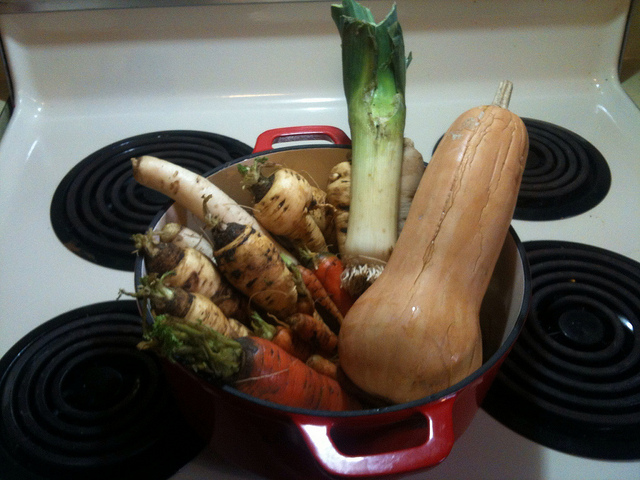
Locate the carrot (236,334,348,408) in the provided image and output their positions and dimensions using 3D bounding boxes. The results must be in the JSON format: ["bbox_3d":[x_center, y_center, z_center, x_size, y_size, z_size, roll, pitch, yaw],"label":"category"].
[{"bbox_3d":[-0.050,0.299,1.244,0.299,0.092,0.108,31,39,-29],"label":"carrot"}]

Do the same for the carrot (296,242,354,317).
[{"bbox_3d":[0.008,0.072,1.391,0.071,0.067,0.229,-7,61,-56],"label":"carrot"}]

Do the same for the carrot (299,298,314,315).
[{"bbox_3d":[-0.031,0.145,1.305,0.026,0.035,0.012,-20,12,2],"label":"carrot"}]

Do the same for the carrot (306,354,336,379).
[{"bbox_3d":[0.006,0.265,1.257,0.069,0.025,0.034,31,28,-15],"label":"carrot"}]

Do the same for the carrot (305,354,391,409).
[{"bbox_3d":[0.058,0.283,1.184,0.164,0.037,0.041,38,1,18],"label":"carrot"}]

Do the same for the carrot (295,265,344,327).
[{"bbox_3d":[-0.002,0.119,1.315,0.135,0.034,0.029,54,43,-4],"label":"carrot"}]
